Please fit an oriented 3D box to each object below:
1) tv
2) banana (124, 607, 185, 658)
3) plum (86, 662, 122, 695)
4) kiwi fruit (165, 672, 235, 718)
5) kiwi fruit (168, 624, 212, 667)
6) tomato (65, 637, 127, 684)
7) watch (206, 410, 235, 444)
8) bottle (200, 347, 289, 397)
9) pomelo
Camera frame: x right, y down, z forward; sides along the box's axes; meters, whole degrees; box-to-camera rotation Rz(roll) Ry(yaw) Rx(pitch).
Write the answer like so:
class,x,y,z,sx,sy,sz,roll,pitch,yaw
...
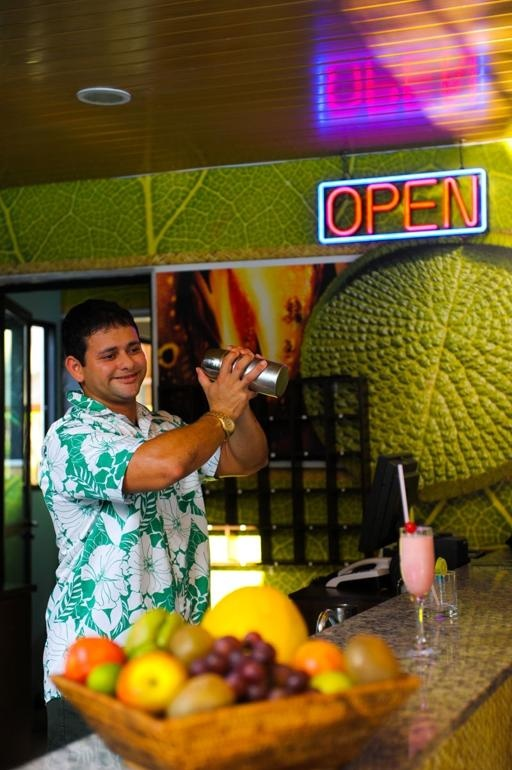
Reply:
class,x,y,z,sx,sy,sz,roll,pitch,yaw
tv,0.572,0.481,2.794,0.158,0.387,0.427,12,0,23
banana,-0.108,0.253,0.721,0.069,0.036,0.055,2,-5,-14
plum,-0.143,0.276,0.655,0.030,0.020,0.021,1,-2,9
kiwi fruit,-0.048,0.263,0.589,0.048,0.030,0.051,1,0,-27
kiwi fruit,-0.063,0.245,0.663,0.030,0.029,0.028,1,-1,9
tomato,-0.157,0.269,0.695,0.047,0.048,0.044,0,-3,1
watch,-0.082,0.094,1.662,0.056,0.066,0.078,-9,12,-4
bottle,-0.027,-0.037,1.767,0.217,0.088,0.094,18,47,25
pomelo,0.001,0.257,0.750,0.084,0.052,0.093,3,-1,6
